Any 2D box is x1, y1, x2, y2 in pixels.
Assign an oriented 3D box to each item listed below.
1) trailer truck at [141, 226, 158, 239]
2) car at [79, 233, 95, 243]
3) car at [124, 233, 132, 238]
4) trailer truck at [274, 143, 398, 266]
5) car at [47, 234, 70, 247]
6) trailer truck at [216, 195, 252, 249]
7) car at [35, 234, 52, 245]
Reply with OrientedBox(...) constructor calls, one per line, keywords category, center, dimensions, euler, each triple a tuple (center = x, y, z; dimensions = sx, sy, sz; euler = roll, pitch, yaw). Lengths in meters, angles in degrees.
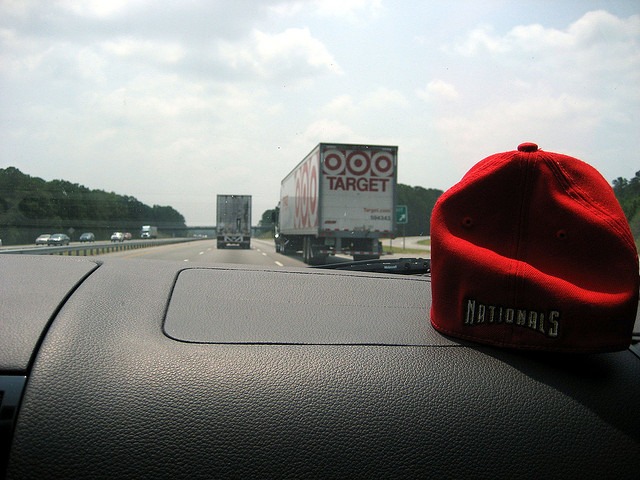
OrientedBox(category="trailer truck", center=(-30.672, -1.591, 100.055), dimensions=(1.573, 2.339, 4.658), euler=(1, 2, 6))
OrientedBox(category="car", center=(-34.153, -0.420, 82.853), dimensions=(1.260, 1.334, 2.615), euler=(1, -7, 8))
OrientedBox(category="car", center=(-35.212, -0.964, 103.708), dimensions=(0.947, 0.869, 1.691), euler=(1, 13, -1))
OrientedBox(category="trailer truck", center=(0.668, -1.345, 21.351), dimensions=(2.390, 3.333, 6.941), euler=(3, 1, -10))
OrientedBox(category="car", center=(-25.129, -0.080, 54.227), dimensions=(0.972, 0.748, 1.603), euler=(-1, -6, 16))
OrientedBox(category="trailer truck", center=(-5.861, -1.466, 40.371), dimensions=(2.554, 3.597, 5.372), euler=(2, 7, -3))
OrientedBox(category="car", center=(-29.251, -0.134, 59.901), dimensions=(1.010, 0.909, 1.779), euler=(0, -6, -2))
